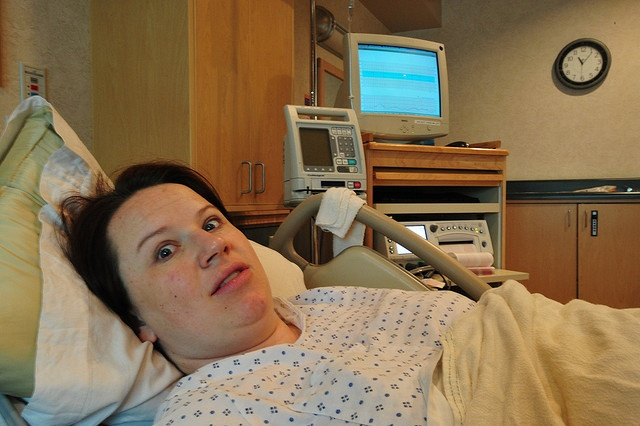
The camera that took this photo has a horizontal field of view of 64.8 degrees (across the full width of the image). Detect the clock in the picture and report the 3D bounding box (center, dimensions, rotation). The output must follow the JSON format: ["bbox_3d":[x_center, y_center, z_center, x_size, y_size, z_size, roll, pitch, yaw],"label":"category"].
[{"bbox_3d":[2.124,-1.215,4.096,0.407,0.416,0.096,1,7,10],"label":"clock"}]

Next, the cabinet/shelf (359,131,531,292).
[{"bbox_3d":[0.668,-0.004,2.794,0.730,0.713,0.597,4,2,26],"label":"cabinet/shelf"}]

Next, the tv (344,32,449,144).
[{"bbox_3d":[0.577,-0.841,3.125,0.665,0.612,0.426,15,36,31],"label":"tv"}]
